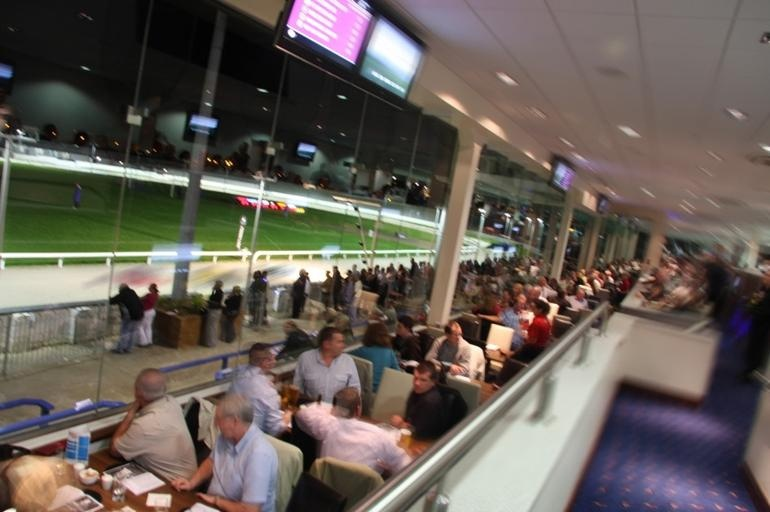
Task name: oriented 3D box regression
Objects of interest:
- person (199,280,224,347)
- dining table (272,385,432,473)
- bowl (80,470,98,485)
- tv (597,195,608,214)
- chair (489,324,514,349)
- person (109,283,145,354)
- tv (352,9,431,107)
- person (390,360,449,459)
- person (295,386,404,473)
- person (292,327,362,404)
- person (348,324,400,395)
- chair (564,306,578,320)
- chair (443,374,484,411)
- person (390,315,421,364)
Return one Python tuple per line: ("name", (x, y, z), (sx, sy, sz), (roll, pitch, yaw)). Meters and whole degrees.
("person", (-2.081, 0.693, 5.620), (0.079, 0.791, 0.256), (8, 5, 27))
("dining table", (-0.353, 1.635, 4.360), (0.985, 0.447, 1.520), (19, -14, 3))
("bowl", (-2.276, 1.712, 3.604), (0.109, 0.071, 0.103), (10, 1, 0))
("tv", (7.008, -1.693, 15.097), (0.171, 0.501, 2.246), (7, 5, 20))
("chair", (2.147, 1.513, 8.623), (0.331, 0.473, 0.352), (10, -10, 28))
("person", (-2.664, 0.643, 4.778), (0.077, 0.720, 0.314), (9, 5, 32))
("tv", (0.070, -2.330, 5.543), (0.101, 0.682, 1.112), (31, 16, 29))
("person", (0.316, 1.927, 5.065), (0.503, 1.370, 0.488), (7, 1, -3))
("person", (-0.371, 1.650, 4.384), (0.809, 0.530, 0.959), (18, -27, 4))
("person", (-0.667, 1.461, 5.382), (0.791, 1.181, 0.607), (1, 5, -13))
("person", (-0.137, 1.356, 5.993), (0.749, 1.341, 0.430), (0, -17, 1))
("chair", (4.423, 1.371, 11.121), (0.186, 0.202, 0.247), (3, 40, 38))
("chair", (0.904, 1.587, 5.483), (0.397, 0.205, 0.684), (6, 5, 8))
("person", (0.396, 1.193, 7.095), (0.558, 0.867, 0.664), (1, 5, -4))
